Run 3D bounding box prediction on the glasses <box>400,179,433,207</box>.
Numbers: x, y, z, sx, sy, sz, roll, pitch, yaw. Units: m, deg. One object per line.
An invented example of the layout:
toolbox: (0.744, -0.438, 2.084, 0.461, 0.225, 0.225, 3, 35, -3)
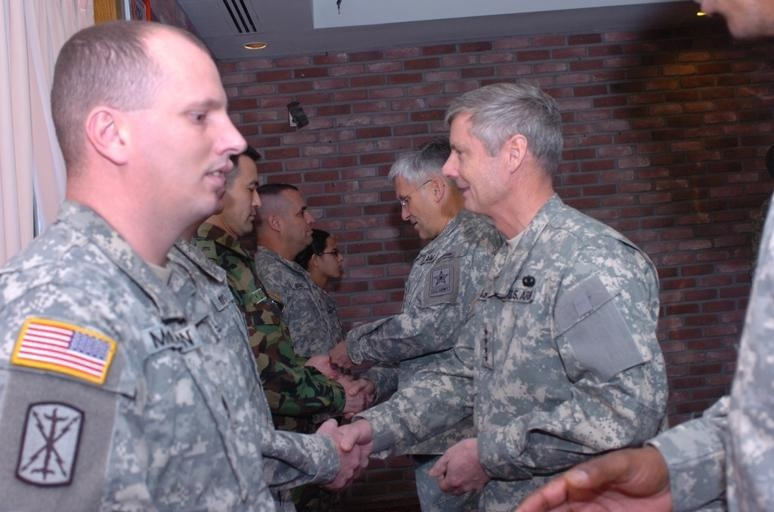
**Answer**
glasses: (0.127, -0.292, 3.601, 0.131, 0.039, 0.124, -38, -5, -1)
